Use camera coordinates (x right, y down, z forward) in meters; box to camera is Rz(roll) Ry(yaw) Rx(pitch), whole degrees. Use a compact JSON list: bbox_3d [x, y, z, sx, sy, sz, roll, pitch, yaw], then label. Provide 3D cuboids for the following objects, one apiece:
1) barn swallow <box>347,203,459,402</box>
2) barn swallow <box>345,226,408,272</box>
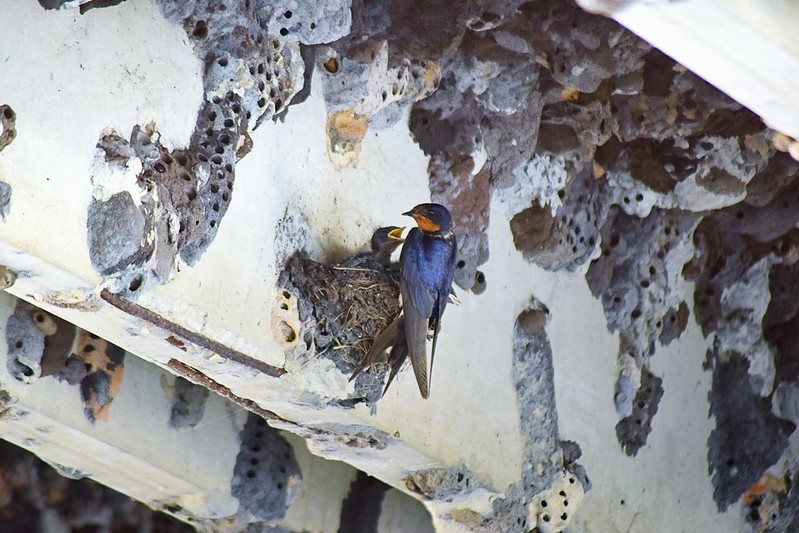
[{"bbox_3d":[0.014,0.255,10.353,0.437,1.037,0.382,17,-16,-35],"label":"barn swallow"},{"bbox_3d":[-0.121,-0.076,10.539,0.346,0.295,0.141,-2,11,24],"label":"barn swallow"}]
